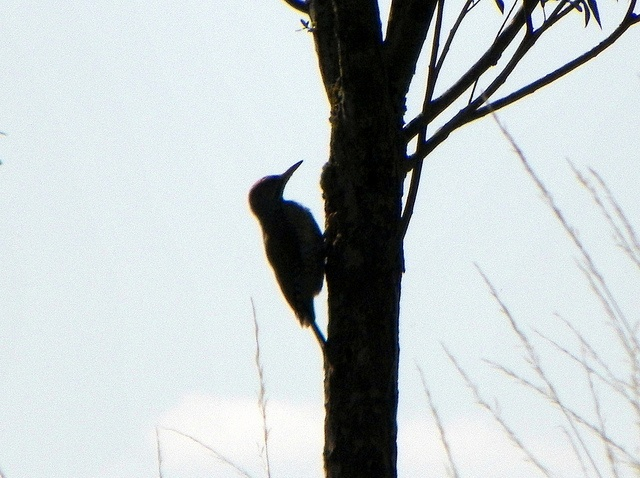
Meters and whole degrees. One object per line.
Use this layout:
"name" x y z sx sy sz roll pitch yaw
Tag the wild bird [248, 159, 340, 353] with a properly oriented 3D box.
"wild bird" -0.153 0.161 6.329 0.383 0.954 0.467 0 -43 0
